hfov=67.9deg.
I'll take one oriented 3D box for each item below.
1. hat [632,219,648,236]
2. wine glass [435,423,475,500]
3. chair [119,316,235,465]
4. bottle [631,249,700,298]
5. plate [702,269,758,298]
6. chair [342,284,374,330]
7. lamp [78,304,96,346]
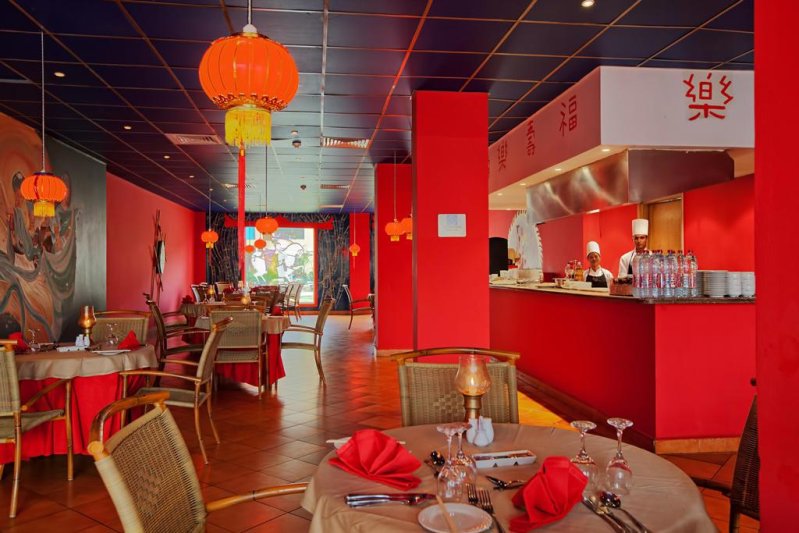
[{"bbox_3d":[2.700,-0.429,6.651,0.226,0.172,0.203,-3,-8,24],"label":"hat"},{"bbox_3d":[0.299,0.980,3.157,0.179,0.316,0.494,0,11,3],"label":"wine glass"},{"bbox_3d":[-2.130,1.152,5.629,0.959,1.215,0.860,2,-4,-17],"label":"chair"},{"bbox_3d":[2.458,0.089,5.523,0.479,0.402,0.470,0,-6,-4],"label":"bottle"},{"bbox_3d":[2.956,0.165,5.358,0.433,0.248,0.336,5,12,27],"label":"plate"},{"bbox_3d":[-1.074,1.089,16.027,0.758,1.010,0.656,-2,-7,-1],"label":"chair"},{"bbox_3d":[-2.876,0.564,5.475,0.115,0.390,0.241,-7,13,-28],"label":"lamp"}]
